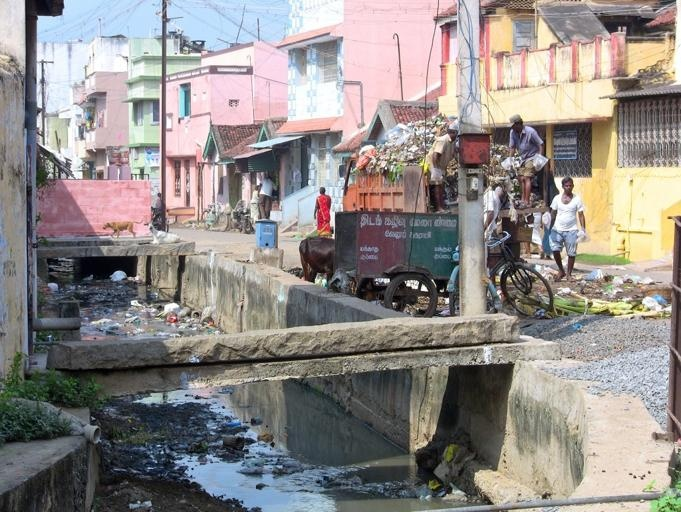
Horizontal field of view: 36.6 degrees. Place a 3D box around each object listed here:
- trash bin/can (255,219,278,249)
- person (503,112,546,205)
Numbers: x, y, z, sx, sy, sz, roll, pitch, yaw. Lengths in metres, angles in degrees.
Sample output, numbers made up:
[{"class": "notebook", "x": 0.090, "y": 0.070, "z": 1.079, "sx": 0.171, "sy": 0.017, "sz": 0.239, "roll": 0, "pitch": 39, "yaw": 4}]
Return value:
[{"class": "trash bin/can", "x": -1.882, "y": -0.610, "z": 26.188, "sx": 0.546, "sy": 0.917, "sz": 0.665, "roll": 0, "pitch": -1, "yaw": -9}, {"class": "person", "x": 3.600, "y": -2.051, "z": 20.270, "sx": 0.691, "sy": 2.112, "sz": 0.789, "roll": -2, "pitch": 11, "yaw": -16}]
